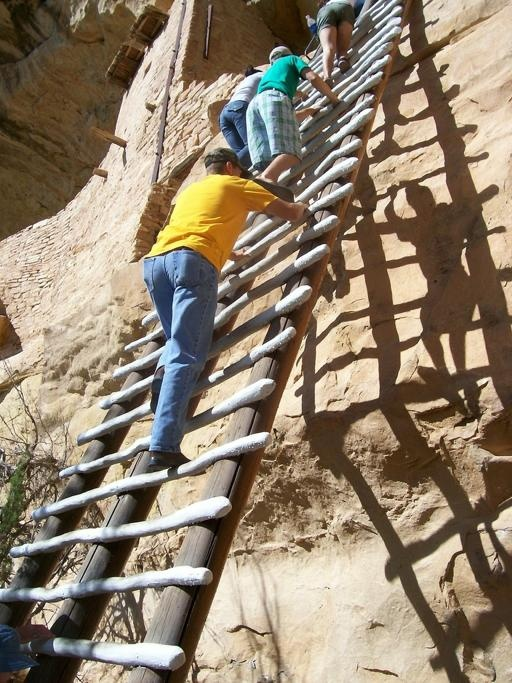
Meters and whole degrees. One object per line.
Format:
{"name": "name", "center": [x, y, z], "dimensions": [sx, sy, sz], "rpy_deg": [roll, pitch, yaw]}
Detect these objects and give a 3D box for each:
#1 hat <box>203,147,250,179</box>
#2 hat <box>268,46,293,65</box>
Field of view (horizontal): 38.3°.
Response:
{"name": "hat", "center": [-0.122, -0.750, 3.116], "dimensions": [0.132, 0.094, 0.201], "rpy_deg": [0, 0, 38]}
{"name": "hat", "center": [0.129, -1.569, 4.072], "dimensions": [0.128, 0.132, 0.091], "rpy_deg": [-31, -42, -73]}
